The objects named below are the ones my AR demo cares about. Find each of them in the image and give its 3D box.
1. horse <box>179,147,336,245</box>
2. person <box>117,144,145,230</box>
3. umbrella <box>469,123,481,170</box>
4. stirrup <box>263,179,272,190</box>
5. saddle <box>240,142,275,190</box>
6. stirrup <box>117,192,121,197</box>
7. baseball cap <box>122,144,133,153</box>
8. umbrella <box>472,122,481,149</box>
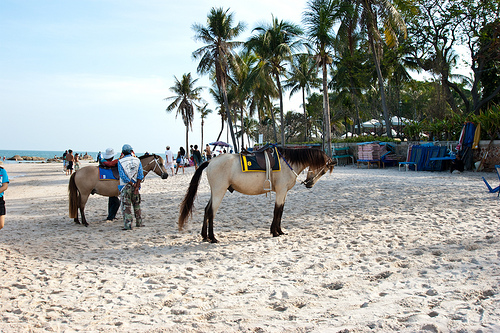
[{"bbox_3d":[0.186,0.673,10.871,4.008,2.511,1.247,-2,-2,-10],"label":"horse"},{"bbox_3d":[-3.231,0.742,11.340,0.699,1.959,0.487,-5,13,-15],"label":"person"},{"bbox_3d":[10.302,-0.889,19.211,0.308,2.236,0.610,5,14,27],"label":"umbrella"},{"bbox_3d":[0.421,0.458,10.502,0.181,0.264,0.062,-1,0,2],"label":"stirrup"},{"bbox_3d":[0.190,0.056,10.421,1.136,1.236,0.511,2,-3,-35],"label":"saddle"},{"bbox_3d":[-3.593,0.750,11.484,0.139,0.140,0.030,9,1,43],"label":"stirrup"},{"bbox_3d":[-3.353,-0.469,11.391,0.211,0.275,0.454,-6,14,-17],"label":"baseball cap"},{"bbox_3d":[10.253,-1.383,18.994,0.270,1.237,0.397,5,15,28],"label":"umbrella"}]
